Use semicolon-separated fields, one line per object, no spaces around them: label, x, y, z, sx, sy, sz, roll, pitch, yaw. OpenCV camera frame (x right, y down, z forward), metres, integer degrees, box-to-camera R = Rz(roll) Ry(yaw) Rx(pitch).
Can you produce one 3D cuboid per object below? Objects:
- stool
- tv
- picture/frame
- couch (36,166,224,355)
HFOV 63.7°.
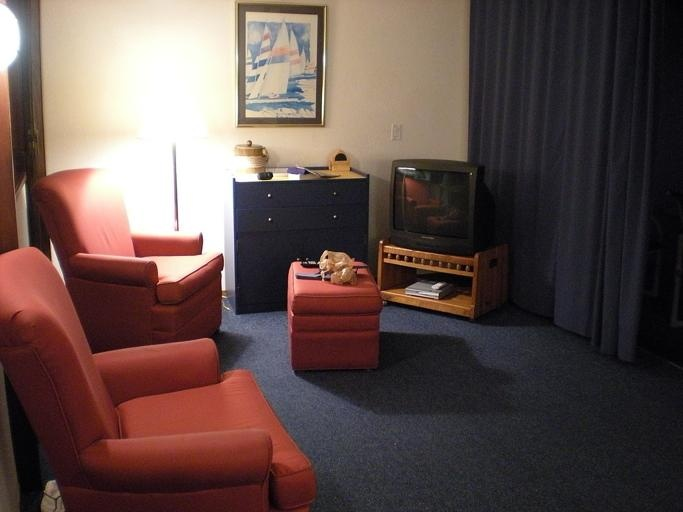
stool;-0.060;0.307;3.676;0.490;0.501;0.715;-1;16;-4
tv;0.789;-0.459;4.555;0.954;0.913;0.676;8;16;37
picture/frame;-0.521;-1.628;4.578;0.933;1.229;0.076;-2;12;-21
couch;-1.202;-0.092;4.184;1.287;1.541;1.116;2;13;3
